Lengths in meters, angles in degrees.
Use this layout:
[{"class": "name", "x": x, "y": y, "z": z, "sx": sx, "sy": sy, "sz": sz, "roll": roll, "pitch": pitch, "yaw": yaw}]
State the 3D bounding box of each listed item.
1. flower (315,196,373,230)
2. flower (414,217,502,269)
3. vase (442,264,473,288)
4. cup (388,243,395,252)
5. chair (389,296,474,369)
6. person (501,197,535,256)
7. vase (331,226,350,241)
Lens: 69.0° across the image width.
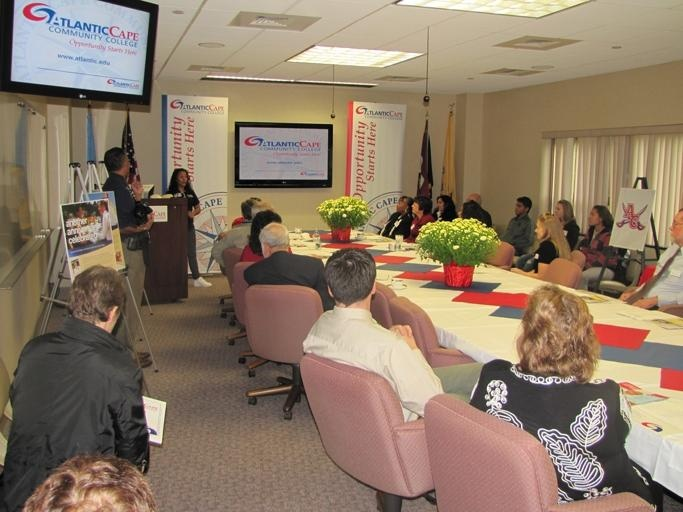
[{"class": "flower", "x": 0.071, "y": -0.673, "z": 7.335, "sx": 0.704, "sy": 0.483, "sz": 0.722, "roll": 1, "pitch": 11, "yaw": 1}, {"class": "flower", "x": 0.935, "y": -0.118, "z": 4.124, "sx": 0.447, "sy": 0.289, "sz": 0.464, "roll": -1, "pitch": 11, "yaw": -7}, {"class": "vase", "x": 0.975, "y": 0.157, "z": 4.128, "sx": 0.187, "sy": 0.164, "sz": 0.212, "roll": 5, "pitch": 10, "yaw": 12}, {"class": "cup", "x": 0.601, "y": -0.115, "z": 5.988, "sx": 0.075, "sy": 0.100, "sz": 0.082, "roll": 0, "pitch": -2, "yaw": 0}, {"class": "chair", "x": 0.524, "y": 0.388, "z": 3.102, "sx": 0.385, "sy": 0.574, "sz": 0.379, "roll": -7, "pitch": 12, "yaw": -19}, {"class": "person", "x": 3.016, "y": -0.570, "z": 8.643, "sx": 0.540, "sy": 1.013, "sz": 0.597, "roll": 5, "pitch": 5, "yaw": -27}, {"class": "vase", "x": -0.003, "y": -0.340, "z": 6.675, "sx": 0.165, "sy": 0.162, "sz": 0.204, "roll": 1, "pitch": 11, "yaw": -2}]
